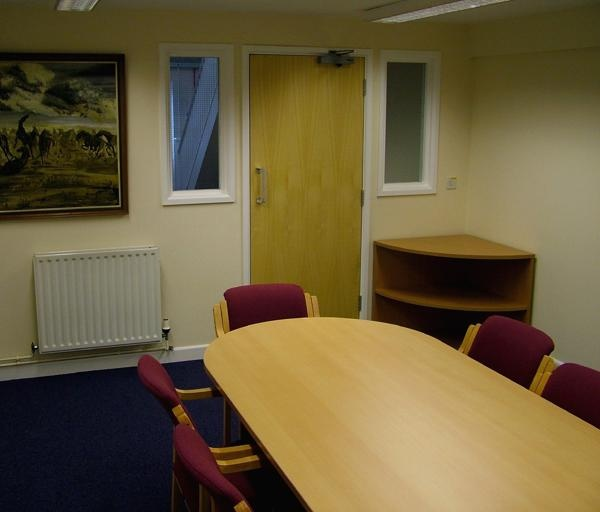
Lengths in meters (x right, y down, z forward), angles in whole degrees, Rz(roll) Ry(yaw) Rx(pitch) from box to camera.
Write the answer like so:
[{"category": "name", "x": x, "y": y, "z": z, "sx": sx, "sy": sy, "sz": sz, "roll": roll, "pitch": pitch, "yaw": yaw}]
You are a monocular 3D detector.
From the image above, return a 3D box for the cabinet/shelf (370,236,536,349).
[{"category": "cabinet/shelf", "x": 1.353, "y": 0.312, "z": 4.413, "sx": 0.955, "sy": 1.229, "sz": 1.148, "roll": -7, "pitch": 15, "yaw": -25}]

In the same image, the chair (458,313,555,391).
[{"category": "chair", "x": 1.071, "y": 0.448, "z": 2.553, "sx": 0.313, "sy": 0.544, "sz": 0.331, "roll": 23, "pitch": 4, "yaw": 39}]

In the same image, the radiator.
[{"category": "radiator", "x": -1.706, "y": 0.331, "z": 3.960, "sx": 0.700, "sy": 0.737, "sz": 0.103, "roll": -4, "pitch": 12, "yaw": -17}]

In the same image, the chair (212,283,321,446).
[{"category": "chair", "x": -0.225, "y": 0.606, "z": 3.177, "sx": 0.619, "sy": 1.388, "sz": 0.796, "roll": -2, "pitch": 5, "yaw": -16}]
